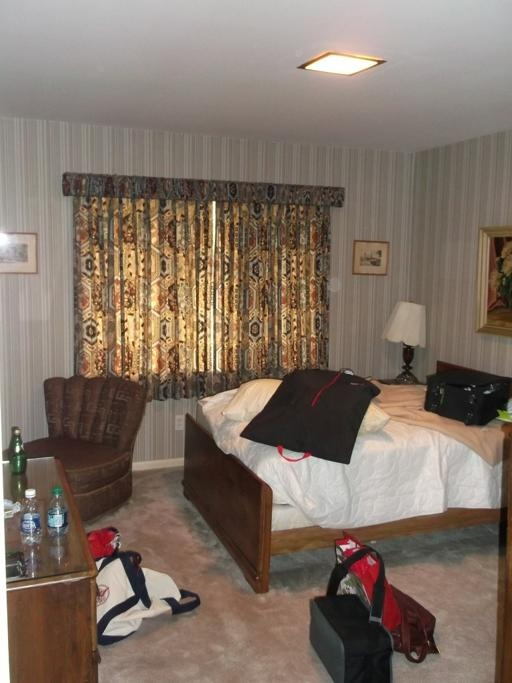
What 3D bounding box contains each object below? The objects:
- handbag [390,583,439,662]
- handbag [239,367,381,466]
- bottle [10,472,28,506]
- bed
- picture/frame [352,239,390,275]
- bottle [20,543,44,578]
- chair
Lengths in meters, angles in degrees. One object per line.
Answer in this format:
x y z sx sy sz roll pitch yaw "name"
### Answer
0.677 1.229 2.382 0.189 0.069 0.234 2 14 -44 "handbag"
0.321 0.404 3.108 0.600 0.340 0.675 5 6 24 "handbag"
-0.994 0.610 2.285 0.076 0.126 0.079 5 7 -1 "bottle"
0.497 0.529 3.174 1.362 0.656 1.319 -4 10 -21 "bed"
1.033 -0.779 4.986 0.330 0.307 0.036 -2 10 -12 "picture/frame"
-0.669 0.657 1.633 0.054 0.089 0.056 2 10 0 "bottle"
-1.110 0.632 3.846 0.957 0.955 0.824 3 4 26 "chair"
